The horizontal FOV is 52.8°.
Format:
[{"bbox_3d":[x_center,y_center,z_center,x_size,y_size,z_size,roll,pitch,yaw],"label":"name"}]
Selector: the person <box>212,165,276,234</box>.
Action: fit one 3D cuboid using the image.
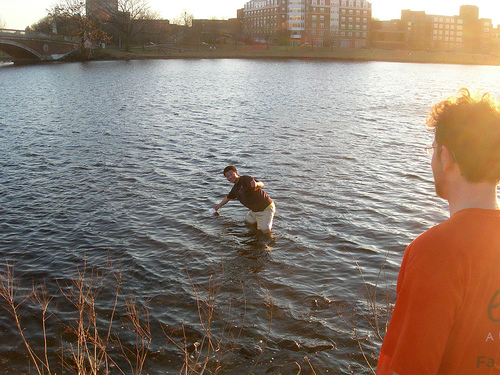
[{"bbox_3d":[-0.180,0.402,13.992,0.922,1.705,1.267,-21,17,-7],"label":"person"}]
